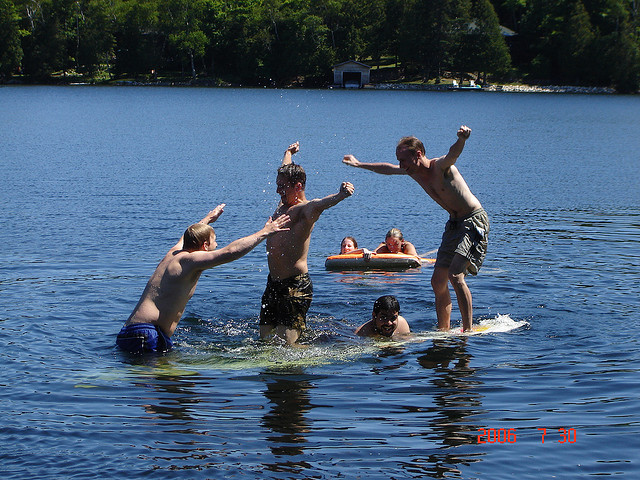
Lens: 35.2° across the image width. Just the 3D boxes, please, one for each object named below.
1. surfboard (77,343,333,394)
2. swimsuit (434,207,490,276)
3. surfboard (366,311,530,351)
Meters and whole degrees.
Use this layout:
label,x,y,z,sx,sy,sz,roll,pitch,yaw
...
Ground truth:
label,x,y,z,sx,sy,sz,roll,pitch,yaw
surfboard,-2.234,2.447,20.006,5.981,0.251,1.455,-3,25,-13
swimsuit,3.051,0.034,21.562,1.063,1.430,0.556,1,10,7
surfboard,2.854,1.964,21.389,3.990,0.515,1.106,-7,10,-19
